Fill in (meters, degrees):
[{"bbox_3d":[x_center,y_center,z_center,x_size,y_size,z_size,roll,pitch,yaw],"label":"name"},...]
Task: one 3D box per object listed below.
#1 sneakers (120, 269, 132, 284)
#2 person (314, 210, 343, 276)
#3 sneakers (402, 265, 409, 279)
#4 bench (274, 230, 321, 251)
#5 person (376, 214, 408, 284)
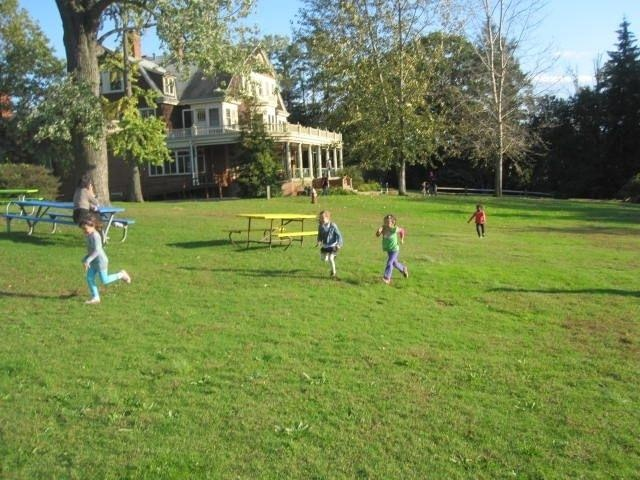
[{"bbox_3d":[-4.390,0.835,12.806,0.321,0.139,0.191,33,53,32],"label":"sneakers"},{"bbox_3d":[0.258,0.055,14.761,0.580,1.692,1.694,0,6,1],"label":"person"},{"bbox_3d":[2.192,0.821,14.557,0.134,0.407,0.196,-4,48,6],"label":"sneakers"},{"bbox_3d":[-0.831,-0.102,18.894,0.935,0.563,3.701,1,6,1],"label":"bench"},{"bbox_3d":[1.840,0.203,14.235,0.732,1.699,1.732,1,6,9],"label":"person"}]
